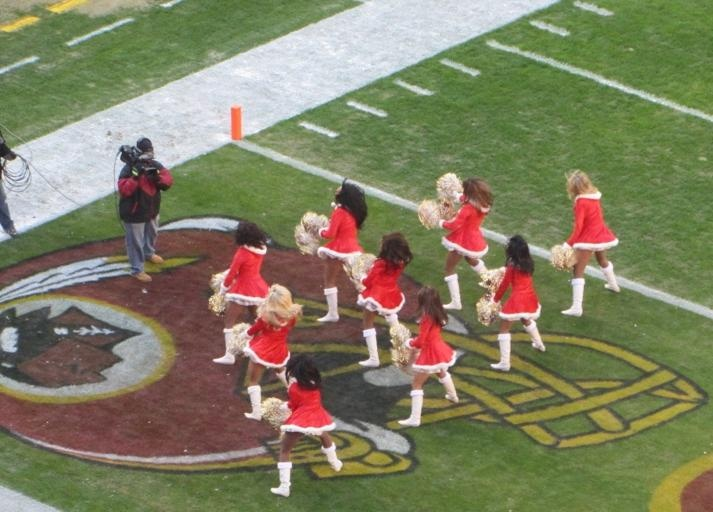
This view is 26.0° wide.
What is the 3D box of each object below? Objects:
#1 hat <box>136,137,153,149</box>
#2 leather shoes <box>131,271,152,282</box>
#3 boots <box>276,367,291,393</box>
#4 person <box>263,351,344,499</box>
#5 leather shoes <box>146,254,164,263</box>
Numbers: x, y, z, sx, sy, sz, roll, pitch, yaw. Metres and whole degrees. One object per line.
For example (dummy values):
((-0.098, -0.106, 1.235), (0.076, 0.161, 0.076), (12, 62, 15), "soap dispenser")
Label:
((-3.435, -1.816, 25.137), (0.289, 0.162, 0.259), (0, 17, 2), "hat")
((-3.503, 0.353, 25.543), (0.356, 0.113, 0.130), (12, 38, 19), "leather shoes")
((-1.072, 1.884, 23.288), (0.196, 0.396, 0.349), (5, 62, -8), "boots")
((-0.679, 2.470, 22.425), (0.876, 1.928, 1.222), (5, 39, -2), "person")
((-3.337, 0.066, 25.896), (0.351, 0.169, 0.094), (3, 45, 5), "leather shoes")
